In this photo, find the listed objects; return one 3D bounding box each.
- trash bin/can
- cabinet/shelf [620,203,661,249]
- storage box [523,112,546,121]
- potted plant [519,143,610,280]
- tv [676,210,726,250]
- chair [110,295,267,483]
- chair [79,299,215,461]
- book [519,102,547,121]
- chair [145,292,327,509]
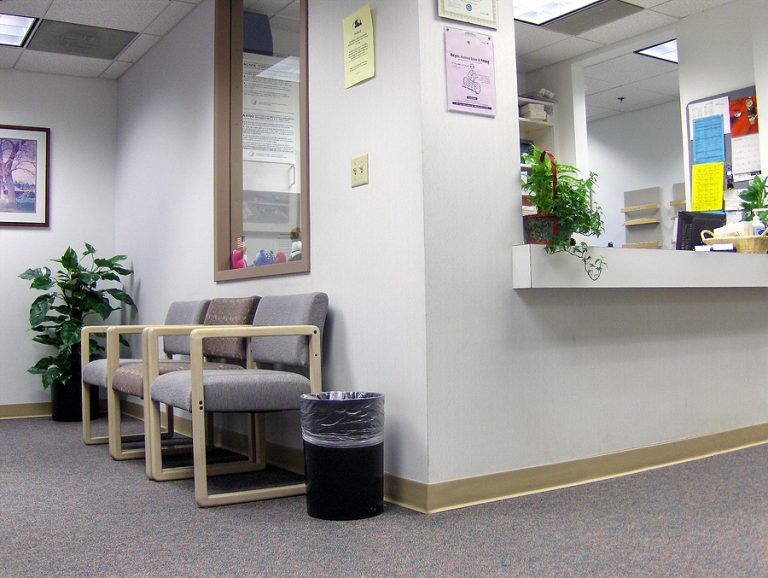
[{"bbox_3d":[-0.159,0.693,2.541,0.422,0.500,0.413,1,-3,-18],"label":"trash bin/can"},{"bbox_3d":[2.904,-0.710,6.495,0.383,0.529,0.521,-2,-2,23],"label":"cabinet/shelf"},{"bbox_3d":[1.395,-1.554,5.281,0.125,0.046,0.128,1,4,-13],"label":"storage box"},{"bbox_3d":[0.809,-0.339,2.602,0.419,0.604,0.304,-1,-2,1],"label":"potted plant"},{"bbox_3d":[1.883,-0.338,3.449,0.237,0.230,0.129,3,-3,-31],"label":"tv"},{"bbox_3d":[-1.180,0.558,3.555,0.948,1.241,0.922,3,-5,-36],"label":"chair"},{"bbox_3d":[-1.666,0.559,4.012,0.961,1.358,0.845,3,-5,-37],"label":"chair"},{"bbox_3d":[1.364,-1.595,5.294,0.194,0.136,0.195,-1,4,-29],"label":"book"},{"bbox_3d":[-0.736,0.439,3.087,0.918,1.209,0.970,2,-4,-31],"label":"chair"}]
